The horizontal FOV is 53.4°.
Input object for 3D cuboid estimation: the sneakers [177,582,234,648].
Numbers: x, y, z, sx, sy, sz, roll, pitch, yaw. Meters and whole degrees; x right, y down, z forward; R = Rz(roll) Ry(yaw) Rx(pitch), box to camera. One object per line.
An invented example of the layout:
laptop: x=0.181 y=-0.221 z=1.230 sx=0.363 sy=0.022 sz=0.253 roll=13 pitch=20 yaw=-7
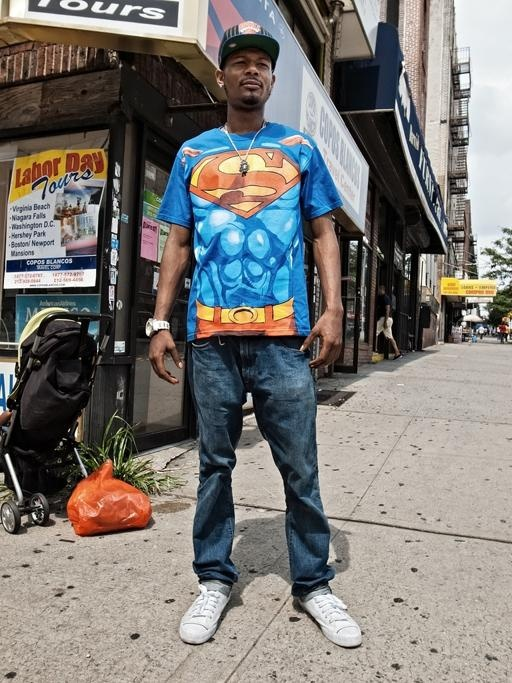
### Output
sneakers: x=-0.160 y=0.886 z=1.704 sx=0.101 sy=0.117 sz=0.312 roll=-2 pitch=-2 yaw=16

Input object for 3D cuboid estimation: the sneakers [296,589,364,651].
sneakers: x=0.239 y=0.911 z=1.709 sx=0.106 sy=0.119 sz=0.326 roll=7 pitch=-7 yaw=-26

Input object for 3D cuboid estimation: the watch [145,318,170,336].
watch: x=-0.339 y=-0.056 z=1.812 sx=0.079 sy=0.056 sz=0.079 roll=18 pitch=-23 yaw=-37

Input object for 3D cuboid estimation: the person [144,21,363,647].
person: x=-0.011 y=-0.098 z=1.778 sx=0.756 sy=2.131 sz=0.403 roll=1 pitch=-1 yaw=0

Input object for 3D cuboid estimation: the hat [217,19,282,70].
hat: x=-0.031 y=-1.062 z=1.820 sx=0.198 sy=0.166 sz=0.289 roll=-3 pitch=4 yaw=-6
